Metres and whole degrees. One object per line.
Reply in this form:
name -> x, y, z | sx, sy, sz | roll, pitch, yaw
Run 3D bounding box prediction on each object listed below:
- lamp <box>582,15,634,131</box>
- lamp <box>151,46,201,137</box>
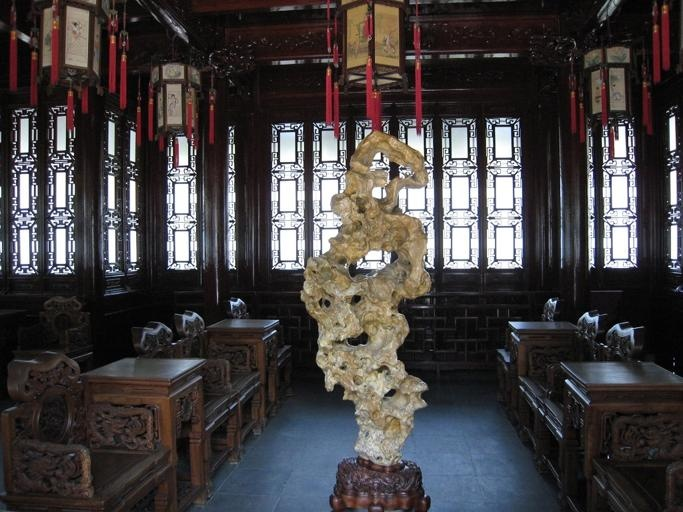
lamp -> 2.337, -1.532, 5.422 | 0.415, 0.768, 0.289 | 2, 6, 25
lamp -> -1.554, -1.428, 5.738 | 0.437, 0.674, 0.407 | -2, 5, -18
